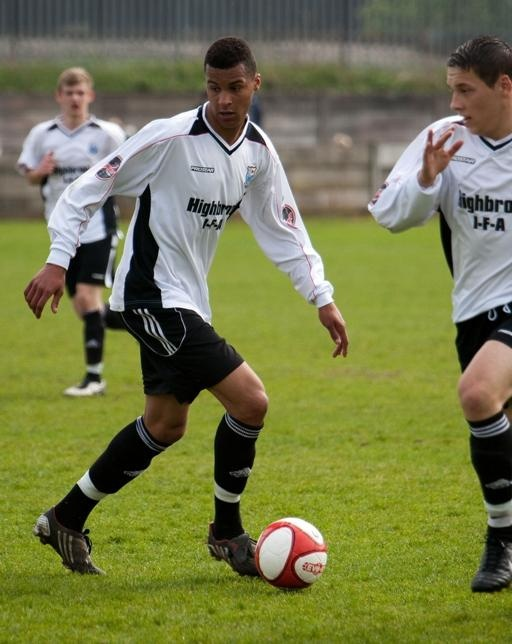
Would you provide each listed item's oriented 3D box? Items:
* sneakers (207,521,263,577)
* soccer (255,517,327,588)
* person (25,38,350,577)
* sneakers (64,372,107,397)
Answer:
[{"bbox_3d":[-0.097,0.893,4.155,0.276,0.111,0.102,25,25,28],"label":"sneakers"},{"bbox_3d":[0.152,0.900,3.975,0.267,0.228,0.255,21,-5,-43],"label":"soccer"},{"bbox_3d":[-0.226,-0.067,4.153,1.240,2.091,0.724,-11,14,-43],"label":"person"},{"bbox_3d":[-1.212,0.445,7.224,0.383,0.150,0.115,-2,0,-8],"label":"sneakers"}]
